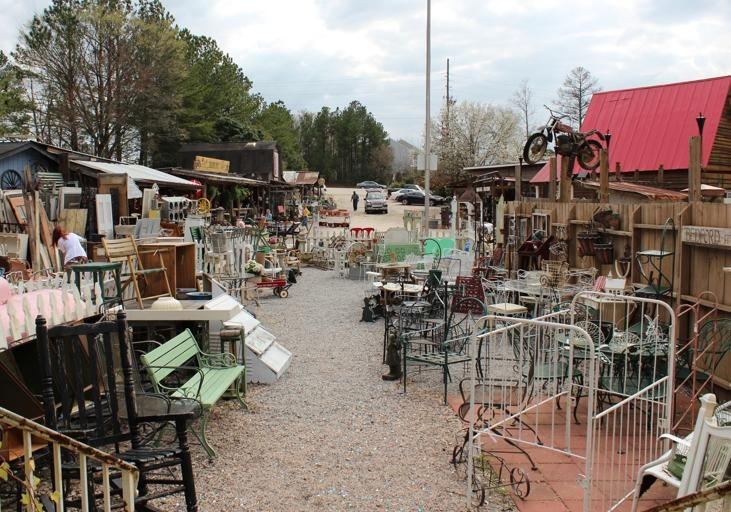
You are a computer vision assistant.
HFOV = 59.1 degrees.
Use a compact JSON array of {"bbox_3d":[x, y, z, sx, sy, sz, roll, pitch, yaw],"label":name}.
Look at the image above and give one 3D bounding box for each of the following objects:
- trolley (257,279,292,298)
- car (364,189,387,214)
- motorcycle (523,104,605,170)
[{"bbox_3d":[-2.394,0.846,16.949,0.700,0.301,0.455,0,8,-7],"label":"trolley"},{"bbox_3d":[0.753,-3.528,43.362,1.443,1.204,2.107,0,14,1],"label":"car"},{"bbox_3d":[4.476,-2.572,14.283,1.828,1.150,0.874,5,10,-6],"label":"motorcycle"}]
